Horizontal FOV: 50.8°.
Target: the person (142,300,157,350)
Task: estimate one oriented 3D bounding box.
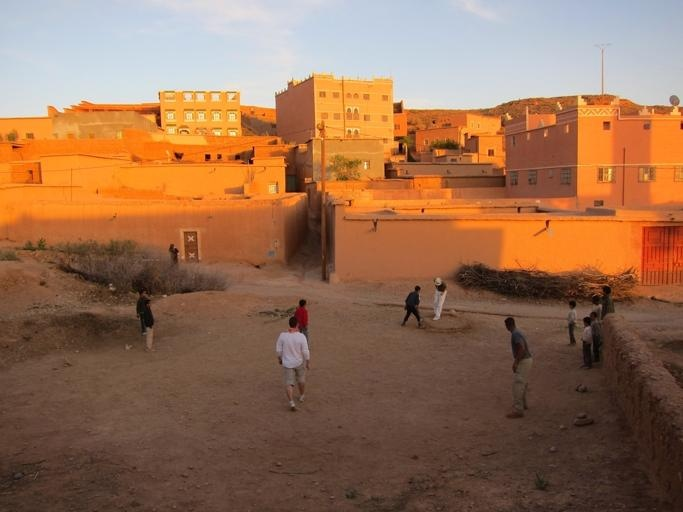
[{"bbox_3d":[-4.936,1.713,18.526,0.254,1.269,1.098,-1,7,-15],"label":"person"}]

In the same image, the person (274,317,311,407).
[{"bbox_3d":[-1.039,2.267,15.644,0.675,2.024,1.087,0,7,-3],"label":"person"}]
